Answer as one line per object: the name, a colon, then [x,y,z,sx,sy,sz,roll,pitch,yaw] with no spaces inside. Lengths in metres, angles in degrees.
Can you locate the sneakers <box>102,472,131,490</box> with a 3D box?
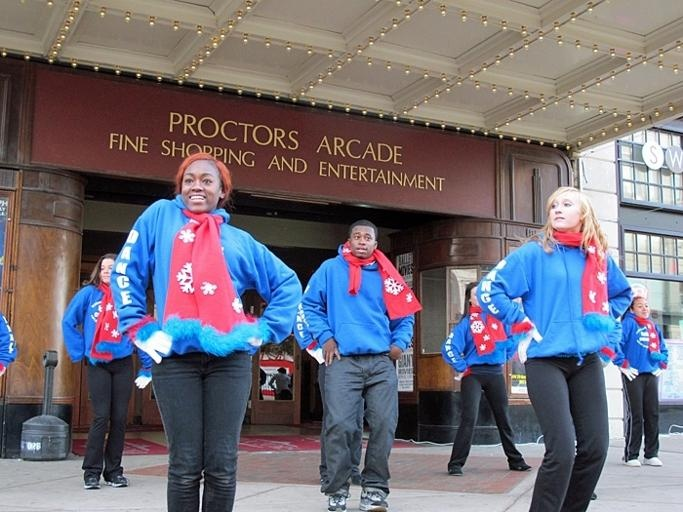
sneakers: [-2.105,2.116,6.581,0.260,0.123,0.104,-10,-18,35]

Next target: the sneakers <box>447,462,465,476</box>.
sneakers: [1.241,2.285,7.527,0.114,0.121,0.297,2,-17,0]

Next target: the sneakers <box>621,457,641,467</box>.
sneakers: [3.489,2.457,8.387,0.086,0.097,0.238,3,-2,-11]

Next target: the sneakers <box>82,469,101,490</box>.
sneakers: [-2.282,2.050,6.449,0.122,0.140,0.347,7,-17,-22]

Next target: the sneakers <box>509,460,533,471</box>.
sneakers: [2.014,2.347,7.841,0.209,0.093,0.116,-16,-31,34]
